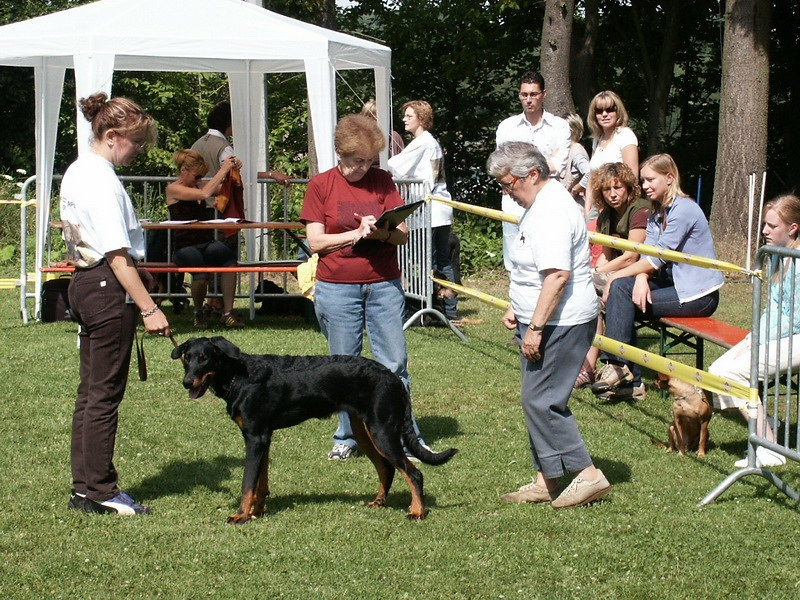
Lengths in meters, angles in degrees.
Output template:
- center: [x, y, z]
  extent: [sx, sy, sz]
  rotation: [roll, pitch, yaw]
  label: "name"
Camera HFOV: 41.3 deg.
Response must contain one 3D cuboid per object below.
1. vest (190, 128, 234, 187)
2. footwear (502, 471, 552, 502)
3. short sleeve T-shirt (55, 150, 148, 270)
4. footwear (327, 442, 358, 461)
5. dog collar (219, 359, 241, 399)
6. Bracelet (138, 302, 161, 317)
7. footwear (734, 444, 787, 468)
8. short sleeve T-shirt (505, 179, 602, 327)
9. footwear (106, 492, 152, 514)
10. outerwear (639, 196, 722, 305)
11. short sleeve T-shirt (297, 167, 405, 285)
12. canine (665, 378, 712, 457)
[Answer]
- center: [-2.304, -1.782, 13.010]
  extent: [0.755, 0.645, 0.340]
  rotation: [24, 38, 30]
  label: "vest"
- center: [0.868, 1.358, 7.753]
  extent: [0.448, 0.212, 0.156]
  rotation: [-3, 0, 2]
  label: "footwear"
- center: [-2.104, -0.578, 7.393]
  extent: [0.491, 0.767, 0.915]
  rotation: [-6, 7, -35]
  label: "short sleeve T-shirt"
- center: [-0.474, 1.202, 8.419]
  extent: [0.102, 0.110, 0.236]
  rotation: [1, -5, 18]
  label: "footwear"
- center: [-1.179, 0.576, 7.279]
  extent: [0.056, 0.159, 0.115]
  rotation: [12, -13, 3]
  label: "dog collar"
- center: [-1.716, 0.069, 7.234]
  extent: [0.120, 0.100, 0.208]
  rotation: [-4, 15, -13]
  label: "Bracelet"
- center: [2.738, 1.158, 7.926]
  extent: [0.457, 0.203, 0.158]
  rotation: [1, -6, -6]
  label: "footwear"
- center: [1.192, -0.295, 7.519]
  extent: [0.774, 1.201, 1.363]
  rotation: [0, 2, -2]
  label: "short sleeve T-shirt"
- center: [-1.908, 1.413, 7.420]
  extent: [0.309, 0.127, 0.126]
  rotation: [5, 7, 1]
  label: "footwear"
- center: [2.551, -0.398, 9.543]
  extent: [0.802, 1.186, 0.886]
  rotation: [-2, 0, -8]
  label: "outerwear"
- center: [-0.344, -0.594, 8.153]
  extent: [0.889, 0.878, 0.493]
  rotation: [-4, 5, -20]
  label: "short sleeve T-shirt"
- center: [2.285, 0.876, 8.434]
  extent: [0.350, 0.736, 0.794]
  rotation: [-2, -5, 30]
  label: "canine"
